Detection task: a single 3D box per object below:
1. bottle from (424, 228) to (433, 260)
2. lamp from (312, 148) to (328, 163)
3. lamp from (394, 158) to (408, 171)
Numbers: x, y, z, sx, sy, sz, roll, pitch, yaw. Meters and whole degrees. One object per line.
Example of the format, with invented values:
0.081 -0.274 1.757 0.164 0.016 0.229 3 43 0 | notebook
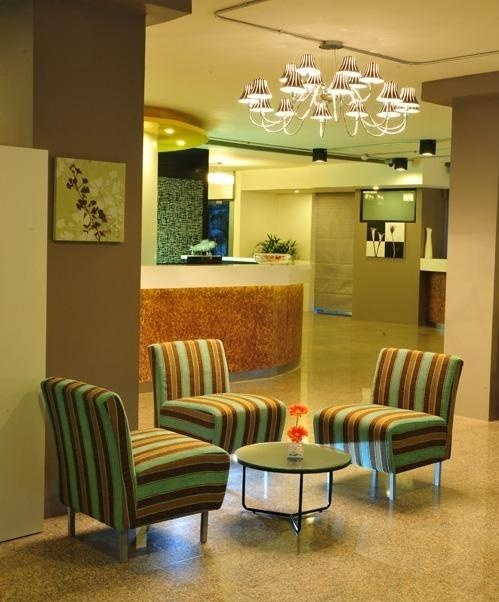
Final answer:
4.091 -1.327 11.976 0.159 0.741 0.355 1 -3 15 | bottle
1.364 -2.875 10.184 0.259 0.216 0.271 2 -3 -3 | lamp
3.257 -2.999 11.307 0.297 0.234 0.297 1 -3 10 | lamp
